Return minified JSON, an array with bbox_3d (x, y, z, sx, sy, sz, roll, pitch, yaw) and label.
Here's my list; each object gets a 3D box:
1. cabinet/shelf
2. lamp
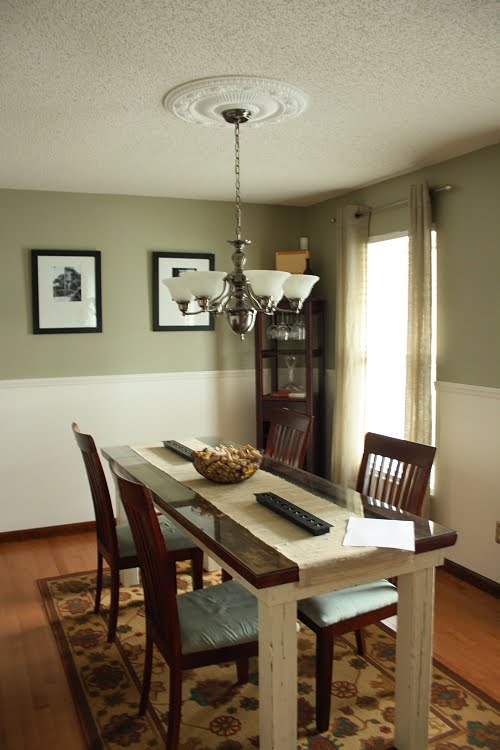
[{"bbox_3d":[0.270,0.194,4.537,0.486,1.665,0.269,-2,9,4],"label":"cabinet/shelf"},{"bbox_3d":[-0.059,-0.688,2.416,0.600,0.890,0.568,-2,5,-20],"label":"lamp"}]
